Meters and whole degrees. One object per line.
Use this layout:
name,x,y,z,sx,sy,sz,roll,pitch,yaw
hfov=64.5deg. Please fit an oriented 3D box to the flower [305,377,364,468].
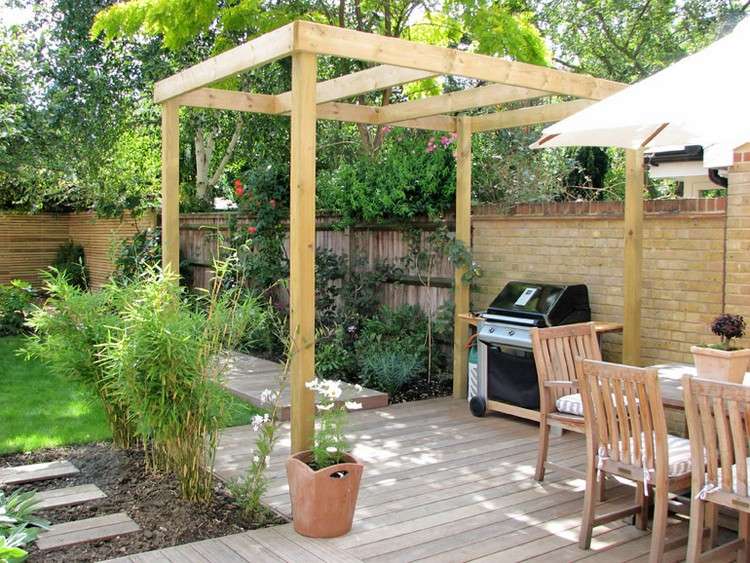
flower,-0.220,0.856,3.771,0.522,0.694,0.365,2,-16,-5

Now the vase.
vase,-0.321,1.331,3.740,0.416,0.438,0.489,2,-4,-32
